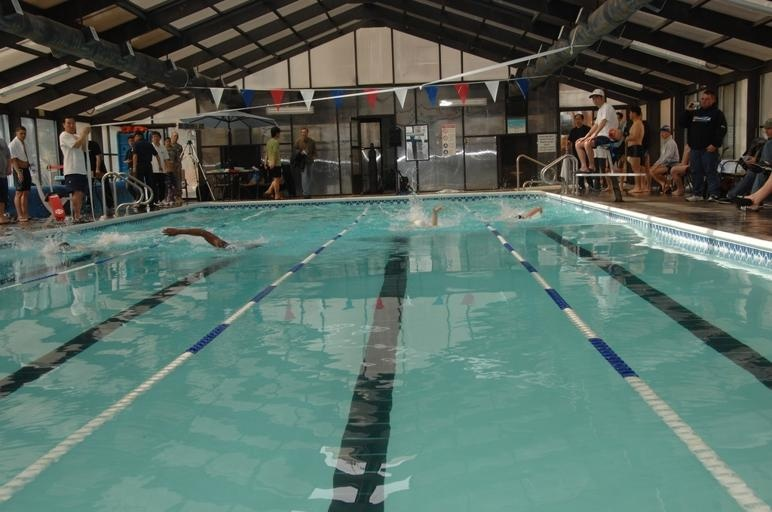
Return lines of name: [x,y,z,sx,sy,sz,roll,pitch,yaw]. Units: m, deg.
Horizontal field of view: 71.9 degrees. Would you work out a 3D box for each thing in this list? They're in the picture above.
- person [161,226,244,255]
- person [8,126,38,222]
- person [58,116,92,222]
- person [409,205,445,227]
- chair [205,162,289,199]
person: [-2.279,-0.275,6.742,0.792,0.339,1.529,-4,11,-15]
person: [-6.613,-1.486,9.629,0.357,1.665,1.175,-10,15,-32]
person: [-5.246,-1.446,9.063,0.420,1.694,1.163,-9,14,-29]
person: [0.641,-0.645,8.385,0.459,0.328,1.122,0,11,4]
chair: [-4.263,-2.281,16.517,1.886,0.669,0.885,-1,4,1]
